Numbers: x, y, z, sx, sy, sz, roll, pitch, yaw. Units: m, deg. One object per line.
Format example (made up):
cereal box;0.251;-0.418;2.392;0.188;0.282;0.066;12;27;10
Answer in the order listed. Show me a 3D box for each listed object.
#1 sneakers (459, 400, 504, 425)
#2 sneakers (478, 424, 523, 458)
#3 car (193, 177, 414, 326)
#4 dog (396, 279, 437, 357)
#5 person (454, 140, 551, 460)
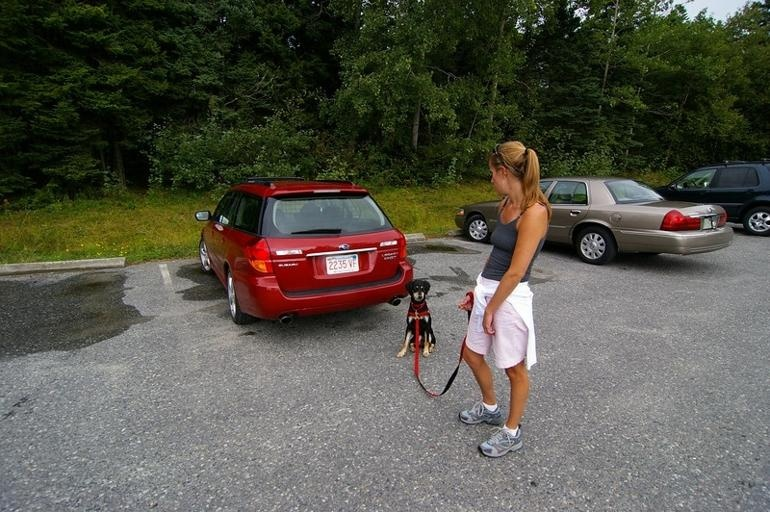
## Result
sneakers;1.000;1.643;4.449;0.417;0.203;0.204;2;8;6
sneakers;1.121;1.789;4.163;0.504;0.234;0.192;-7;6;-22
car;-1.466;-0.387;6.471;1.783;1.074;2.958;-6;18;-26
dog;0.385;0.801;5.372;0.479;0.973;0.582;-1;14;8
person;1.112;0.429;4.008;0.696;2.923;0.593;-6;14;-11
